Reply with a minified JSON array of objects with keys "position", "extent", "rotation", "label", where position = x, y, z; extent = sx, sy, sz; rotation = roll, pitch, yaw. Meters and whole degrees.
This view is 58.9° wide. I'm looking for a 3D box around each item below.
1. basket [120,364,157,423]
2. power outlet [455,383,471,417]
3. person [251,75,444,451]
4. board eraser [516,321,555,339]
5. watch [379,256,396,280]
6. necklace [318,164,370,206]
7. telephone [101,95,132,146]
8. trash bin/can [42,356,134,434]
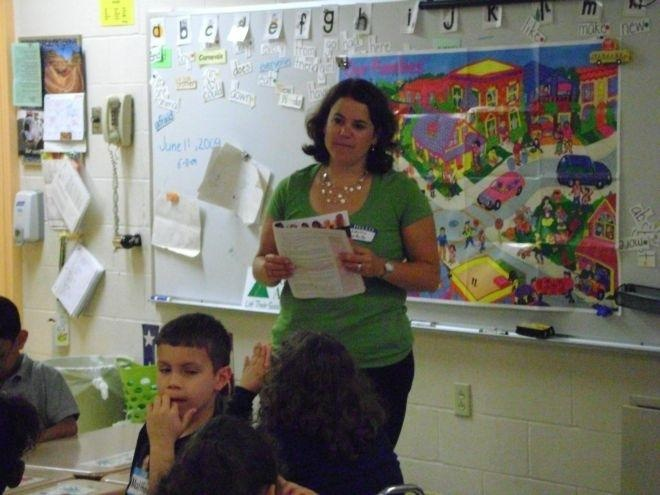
[{"position":[-0.438,0.357,1.416],"extent":[0.097,0.121,0.116],"rotation":[-5,-15,27],"label":"basket"},{"position":[0.476,0.558,2.120],"extent":[0.058,0.117,0.012],"rotation":[0,6,37],"label":"power outlet"},{"position":[0.021,0.233,1.535],"extent":[0.448,1.317,0.382],"rotation":[4,7,11],"label":"person"},{"position":[0.743,0.296,2.129],"extent":[0.088,0.031,0.062],"rotation":[3,3,43],"label":"board eraser"},{"position":[0.146,0.060,1.513],"extent":[0.044,0.029,0.047],"rotation":[-44,11,41],"label":"watch"},{"position":[0.025,-0.170,1.489],"extent":[0.081,0.115,0.027],"rotation":[8,13,16],"label":"necklace"},{"position":[-0.958,-0.580,2.654],"extent":[0.131,0.216,0.047],"rotation":[2,4,13],"label":"telephone"},{"position":[-0.630,0.380,1.607],"extent":[0.246,0.209,0.257],"rotation":[-2,-6,3],"label":"trash bin/can"}]
